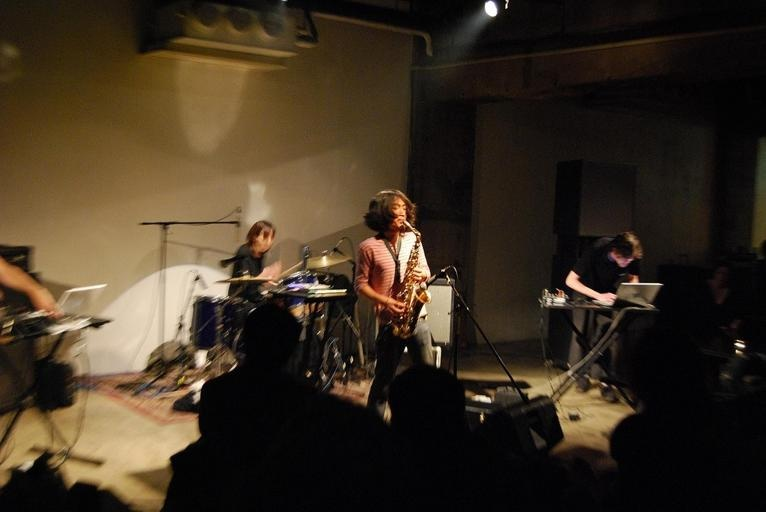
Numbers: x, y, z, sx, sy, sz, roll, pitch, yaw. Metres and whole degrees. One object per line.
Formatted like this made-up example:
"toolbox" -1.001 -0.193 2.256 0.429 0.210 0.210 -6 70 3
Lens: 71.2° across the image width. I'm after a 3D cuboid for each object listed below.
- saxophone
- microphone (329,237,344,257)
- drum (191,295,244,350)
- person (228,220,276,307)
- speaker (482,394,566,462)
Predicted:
"saxophone" 0.241 0.177 4.466 0.304 0.897 0.553 3 14 10
"microphone" -0.605 -0.065 6.777 0.065 0.229 0.226 -12 -14 -21
"drum" -1.646 0.660 5.387 0.602 0.620 0.607 6 -3 -13
"person" -1.418 0.089 5.707 0.409 0.285 1.001 1 42 -1
"speaker" 1.082 1.287 4.063 0.497 0.457 0.664 -15 -10 38
